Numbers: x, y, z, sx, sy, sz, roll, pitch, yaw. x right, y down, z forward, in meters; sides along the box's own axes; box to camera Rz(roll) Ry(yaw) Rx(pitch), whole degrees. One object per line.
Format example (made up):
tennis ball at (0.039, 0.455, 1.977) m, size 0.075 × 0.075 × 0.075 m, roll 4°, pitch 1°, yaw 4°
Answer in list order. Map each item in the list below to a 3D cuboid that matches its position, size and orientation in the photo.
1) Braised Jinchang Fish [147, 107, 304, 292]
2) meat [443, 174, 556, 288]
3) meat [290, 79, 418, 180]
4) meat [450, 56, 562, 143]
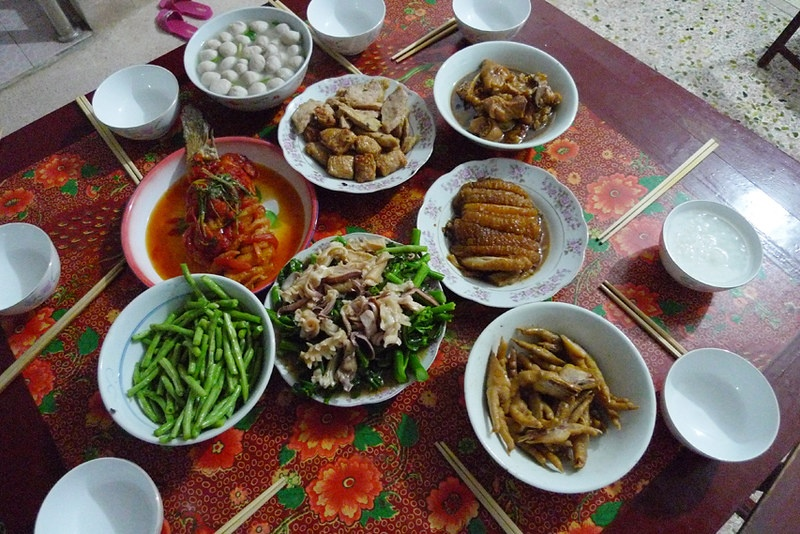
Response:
Braised Jinchang Fish at (-1.050, -0.285, 3.721) m, size 0.791 × 0.319 × 1.206 m, roll -23°, pitch 72°, yaw -13°
meat at (0.554, -0.265, 3.710) m, size 0.603 × 0.186 × 0.670 m, roll -24°, pitch 81°, yaw -13°
meat at (-0.250, -0.868, 3.892) m, size 0.769 × 0.173 × 0.691 m, roll -28°, pitch 83°, yaw -8°
meat at (0.705, -1.056, 3.960) m, size 0.775 × 0.498 × 0.603 m, roll 3°, pitch 37°, yaw 10°
